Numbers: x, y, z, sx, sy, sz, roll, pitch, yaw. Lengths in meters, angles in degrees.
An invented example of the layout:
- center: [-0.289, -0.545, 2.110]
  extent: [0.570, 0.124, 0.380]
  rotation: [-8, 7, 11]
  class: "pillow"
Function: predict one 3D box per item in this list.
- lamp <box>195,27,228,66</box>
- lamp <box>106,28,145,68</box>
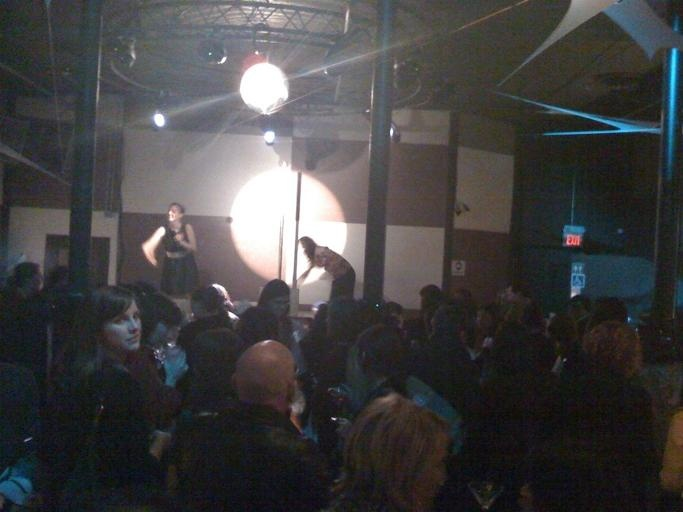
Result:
- center: [-1.484, -2.407, 7.213]
  extent: [0.301, 0.213, 0.438]
  rotation: [4, -2, -14]
  class: "lamp"
- center: [-2.500, -2.355, 7.201]
  extent: [0.346, 0.268, 0.429]
  rotation: [4, -3, -19]
  class: "lamp"
